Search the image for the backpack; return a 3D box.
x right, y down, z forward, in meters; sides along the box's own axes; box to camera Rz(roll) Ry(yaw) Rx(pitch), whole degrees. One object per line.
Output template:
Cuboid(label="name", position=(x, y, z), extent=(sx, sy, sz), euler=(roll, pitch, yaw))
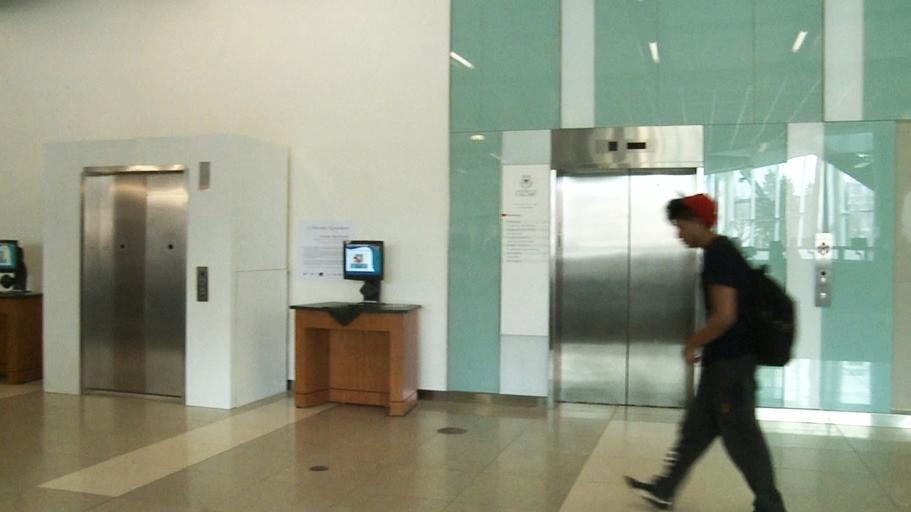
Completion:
Cuboid(label="backpack", position=(3.151, 0.606, 8.077), extent=(0.512, 0.982, 0.142), euler=(0, 2, 24))

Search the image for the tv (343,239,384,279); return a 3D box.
Cuboid(label="tv", position=(-1.270, 0.053, 11.158), extent=(0.595, 0.473, 0.283), euler=(0, 6, 3))
